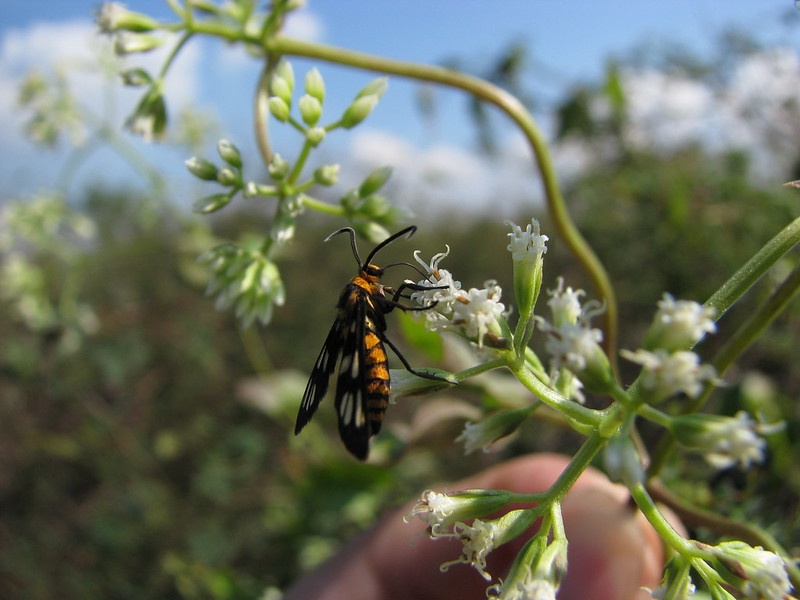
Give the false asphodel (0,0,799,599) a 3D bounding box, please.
[{"bbox_3d":[0.267,0.085,1.992,1.630,1.839,0.638,21,59,41],"label":"false asphodel"}]
